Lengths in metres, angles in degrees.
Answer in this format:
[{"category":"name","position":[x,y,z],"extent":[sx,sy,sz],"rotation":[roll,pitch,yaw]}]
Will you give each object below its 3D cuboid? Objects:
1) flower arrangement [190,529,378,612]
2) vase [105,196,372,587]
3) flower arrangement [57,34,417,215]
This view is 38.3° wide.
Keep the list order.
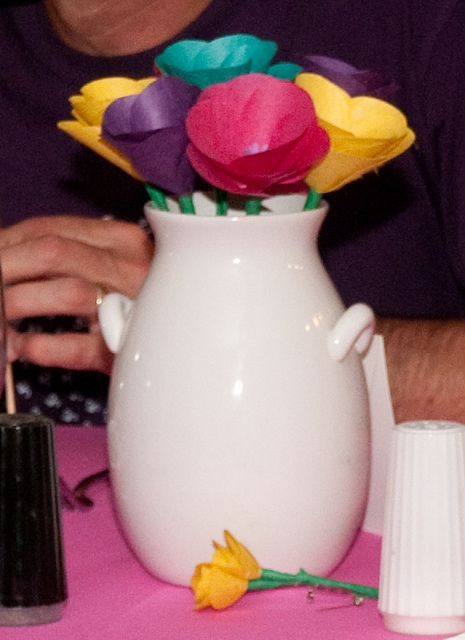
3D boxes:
[{"category":"flower arrangement","position":[0.009,0.118,0.332],"extent":[0.112,0.037,0.038],"rotation":[4,92,-10]},{"category":"vase","position":[0.018,0.036,0.387],"extent":[0.167,0.150,0.191],"rotation":[-1,93,24]},{"category":"flower arrangement","position":[0.005,-0.092,0.358],"extent":[0.149,0.093,0.149],"rotation":[-13,37,-28]}]
